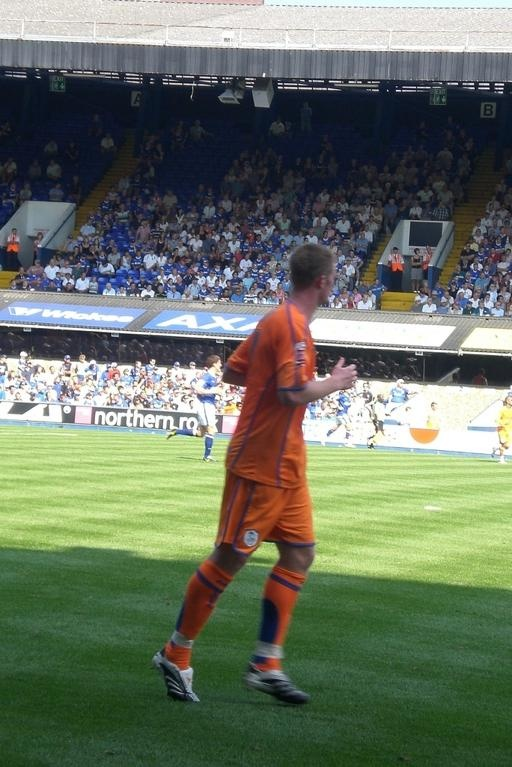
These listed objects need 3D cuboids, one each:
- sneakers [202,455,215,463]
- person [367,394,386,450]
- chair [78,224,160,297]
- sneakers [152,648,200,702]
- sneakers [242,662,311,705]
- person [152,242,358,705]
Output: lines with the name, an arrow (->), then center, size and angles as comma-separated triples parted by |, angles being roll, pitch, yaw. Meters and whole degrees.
sneakers -> -0.765, 1.239, 17.512 | 0.204, 0.087, 0.067 | 1, 9, 2
person -> 2.826, 0.914, 25.400 | 0.385, 1.279, 0.353 | 10, 8, 12
chair -> -3.815, -3.504, 30.357 | 2.057, 1.788, 3.810 | 4, 8, -23
sneakers -> -0.295, 1.107, 4.117 | 0.126, 0.233, 0.084 | -33, 0, 2
sneakers -> 0.068, 1.145, 4.140 | 0.275, 0.121, 0.096 | 27, -27, 1
person -> 0.032, 0.327, 4.289 | 0.591, 1.755, 0.777 | 9, 7, 5
